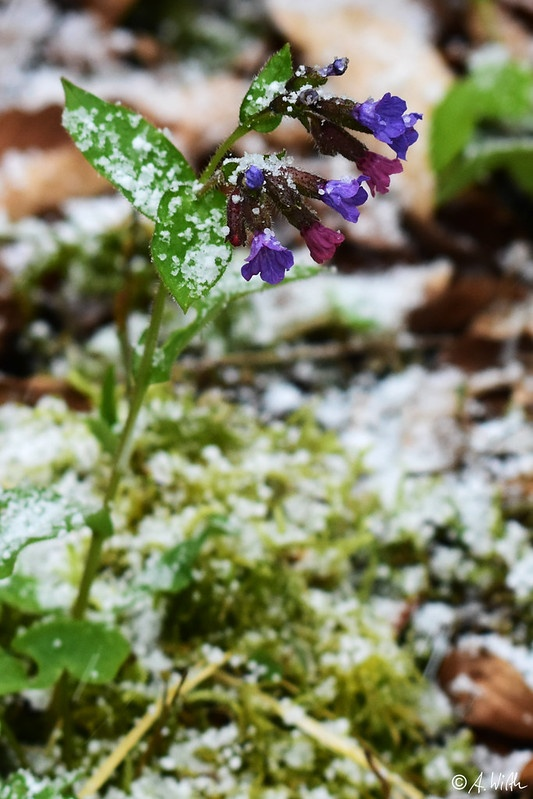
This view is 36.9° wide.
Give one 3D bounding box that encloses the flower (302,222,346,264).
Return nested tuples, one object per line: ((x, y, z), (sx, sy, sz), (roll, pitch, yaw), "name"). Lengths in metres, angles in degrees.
((0.063, -0.186, 0.950), (0.048, 0.050, 0.133), (6, 13, 1), "flower")

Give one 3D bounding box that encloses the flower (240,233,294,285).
((0.000, -0.149, 0.897), (0.053, 0.039, 0.061), (-15, 43, 8), "flower")

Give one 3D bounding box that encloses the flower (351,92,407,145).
((0.132, -0.328, 0.900), (0.020, 0.037, 0.041), (-29, 39, -21), "flower")

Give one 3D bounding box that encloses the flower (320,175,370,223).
((0.086, -0.231, 0.911), (0.053, 0.050, 0.062), (8, 13, 7), "flower")
